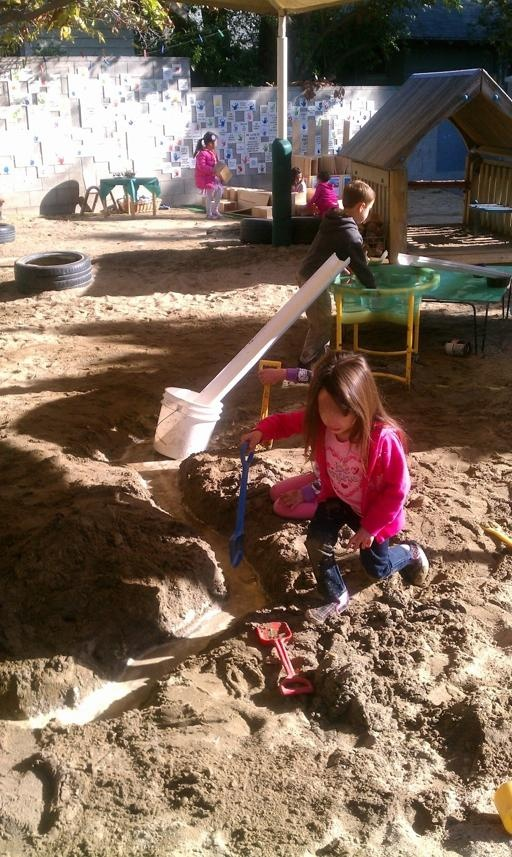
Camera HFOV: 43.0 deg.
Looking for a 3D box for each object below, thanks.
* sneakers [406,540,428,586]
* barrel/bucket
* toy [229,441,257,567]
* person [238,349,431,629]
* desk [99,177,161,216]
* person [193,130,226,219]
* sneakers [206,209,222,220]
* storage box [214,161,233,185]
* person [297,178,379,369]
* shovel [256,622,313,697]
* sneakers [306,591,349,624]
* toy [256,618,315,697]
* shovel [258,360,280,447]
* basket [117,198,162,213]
[{"bbox_3d":[0.677,0.575,2.747,0.090,0.206,0.073,-20,29,-13],"label":"sneakers"},{"bbox_3d":[-0.431,-0.023,4.105,0.418,0.363,0.434,25,10,-4],"label":"barrel/bucket"},{"bbox_3d":[-0.078,0.369,2.880,0.101,0.610,0.095,6,-2,32],"label":"toy"},{"bbox_3d":[0.304,0.221,2.500,0.716,0.979,0.421,0,16,8],"label":"person"},{"bbox_3d":[-2.767,-5.212,14.263,1.032,0.778,1.059,10,14,37],"label":"desk"},{"bbox_3d":[-0.974,-5.184,13.228,0.495,1.657,1.117,-1,10,-4],"label":"person"},{"bbox_3d":[-0.885,-4.568,13.804,0.186,0.139,0.344,15,31,30],"label":"sneakers"},{"bbox_3d":[-0.687,-5.081,12.857,0.298,0.394,0.571,-1,10,-4],"label":"storage box"},{"bbox_3d":[0.601,-1.146,4.866,0.564,1.423,0.885,0,10,3],"label":"person"},{"bbox_3d":[0.091,0.795,2.250,0.125,0.051,0.421,-2,10,-12],"label":"shovel"},{"bbox_3d":[0.277,0.695,2.527,0.192,0.086,0.068,-22,29,-34],"label":"sneakers"},{"bbox_3d":[0.095,0.794,2.248,0.128,0.055,0.425,0,10,-11],"label":"toy"},{"bbox_3d":[0.040,-0.163,3.737,0.115,0.571,0.031,4,42,-7],"label":"shovel"},{"bbox_3d":[-2.578,-4.917,14.426,0.731,0.226,0.508,9,15,37],"label":"basket"}]
